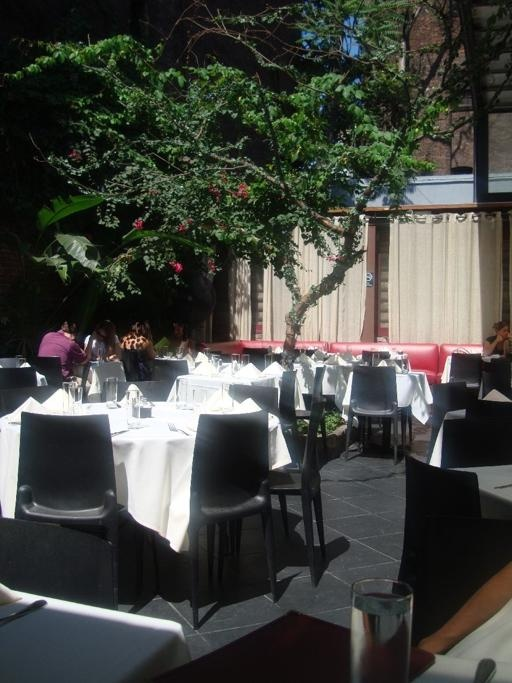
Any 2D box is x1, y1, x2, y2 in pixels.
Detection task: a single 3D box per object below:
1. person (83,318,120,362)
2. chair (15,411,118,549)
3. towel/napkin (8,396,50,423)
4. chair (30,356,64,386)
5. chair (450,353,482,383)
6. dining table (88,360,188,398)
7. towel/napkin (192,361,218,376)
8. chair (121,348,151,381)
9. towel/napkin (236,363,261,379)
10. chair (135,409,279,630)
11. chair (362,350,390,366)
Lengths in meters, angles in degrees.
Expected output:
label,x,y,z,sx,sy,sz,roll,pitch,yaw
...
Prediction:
label,x,y,z,sx,sy,sz,roll,pitch,yaw
person,-1.815,-0.008,7.163,0.465,0.831,0.458,0,2,-14
chair,-0.772,0.587,2.722,0.476,0.823,0.560,1,-2,-9
towel/napkin,-1.108,0.330,2.923,0.139,0.069,0.186,2,3,3
chair,-2.027,0.302,5.860,0.230,0.438,0.253,2,4,3
chair,2.646,0.348,7.635,0.309,0.466,0.390,3,3,22
dining table,-1.229,0.358,5.803,0.571,0.308,0.587,-1,-4,13
towel/napkin,-0.483,0.276,5.879,0.151,0.072,0.156,3,6,11
chair,-1.356,0.276,6.737,0.250,0.359,0.184,-7,-20,-38
towel/napkin,-0.080,0.276,5.639,0.158,0.084,0.155,-1,8,5
chair,-0.110,0.749,2.856,0.423,0.875,0.837,0,2,-7
chair,1.497,0.212,7.652,0.262,0.326,0.261,0,6,-11
